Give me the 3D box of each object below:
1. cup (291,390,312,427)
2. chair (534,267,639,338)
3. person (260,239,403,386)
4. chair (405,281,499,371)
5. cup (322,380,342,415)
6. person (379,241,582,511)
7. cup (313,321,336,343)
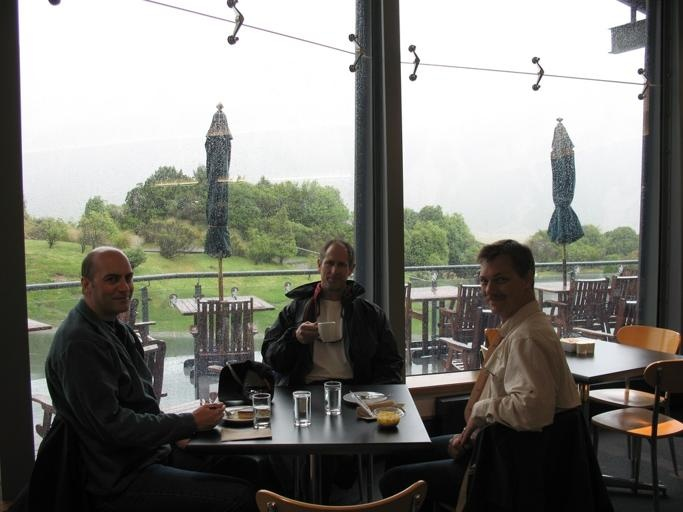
[{"bbox_3d":[-0.192,0.739,2.855,0.124,0.222,0.124,0,-2,0],"label":"cup"},{"bbox_3d":[1.988,0.367,4.824,0.559,0.457,0.240,-1,5,-19],"label":"chair"},{"bbox_3d":[-0.020,0.513,3.699,0.798,1.164,0.650,0,-3,-5],"label":"person"},{"bbox_3d":[0.823,0.566,4.908,0.565,1.028,0.715,-1,0,-11],"label":"chair"},{"bbox_3d":[-0.049,0.716,2.973,0.093,0.163,0.093,0,-2,0],"label":"cup"},{"bbox_3d":[0.649,0.688,3.448,1.145,1.733,1.070,2,-11,5],"label":"person"},{"bbox_3d":[-0.107,0.424,3.270,0.118,0.096,0.105,-4,-5,27],"label":"cup"}]
